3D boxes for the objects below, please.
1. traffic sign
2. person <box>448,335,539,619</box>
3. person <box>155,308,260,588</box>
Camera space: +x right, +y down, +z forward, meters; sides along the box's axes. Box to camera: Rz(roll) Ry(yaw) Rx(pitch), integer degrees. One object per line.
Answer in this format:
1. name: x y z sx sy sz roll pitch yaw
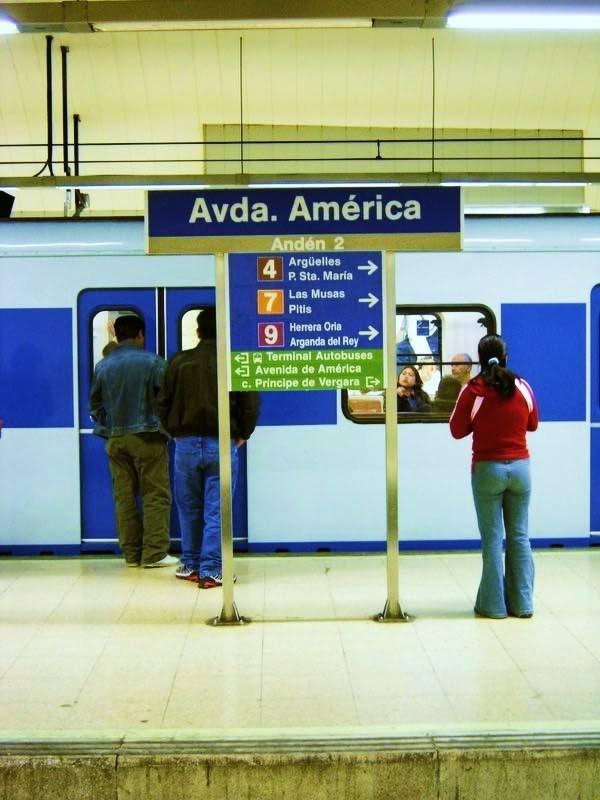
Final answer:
1. traffic sign: 0.067 -0.440 5.710 0.644 0.635 0.071 -1 1 2
2. person: 1.088 0.425 5.932 0.477 1.562 0.369 0 5 11
3. person: -0.575 0.294 6.721 0.681 1.730 0.384 4 7 45
